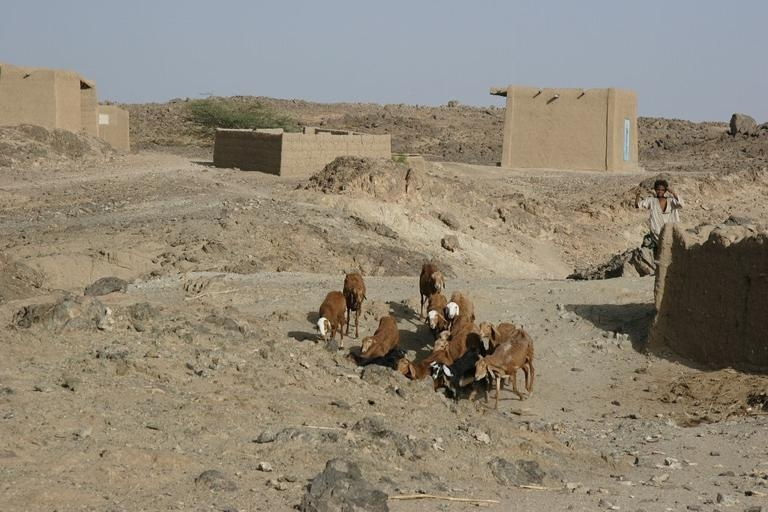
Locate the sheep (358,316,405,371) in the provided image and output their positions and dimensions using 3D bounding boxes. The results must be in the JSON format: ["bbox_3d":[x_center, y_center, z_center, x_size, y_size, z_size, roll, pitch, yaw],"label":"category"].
[{"bbox_3d":[-0.023,1.757,20.907,0.448,0.765,1.347,1,8,16],"label":"sheep"}]
